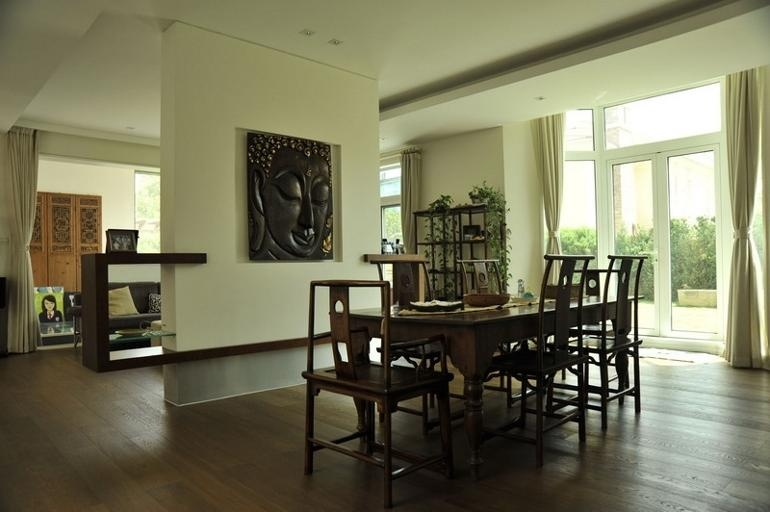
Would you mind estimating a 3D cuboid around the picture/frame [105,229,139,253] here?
[{"bbox_3d":[-2.699,-0.150,5.688,0.250,0.211,0.089,0,-6,-39],"label":"picture/frame"}]

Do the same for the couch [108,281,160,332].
[{"bbox_3d":[-3.892,0.803,8.559,0.415,0.521,0.775,-8,-8,39],"label":"couch"}]

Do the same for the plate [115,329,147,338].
[{"bbox_3d":[-2.604,0.791,5.677,0.290,0.056,0.270,-4,9,-23],"label":"plate"}]

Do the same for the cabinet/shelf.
[{"bbox_3d":[1.115,-0.061,8.081,1.467,1.631,0.547,-4,-4,44],"label":"cabinet/shelf"}]
